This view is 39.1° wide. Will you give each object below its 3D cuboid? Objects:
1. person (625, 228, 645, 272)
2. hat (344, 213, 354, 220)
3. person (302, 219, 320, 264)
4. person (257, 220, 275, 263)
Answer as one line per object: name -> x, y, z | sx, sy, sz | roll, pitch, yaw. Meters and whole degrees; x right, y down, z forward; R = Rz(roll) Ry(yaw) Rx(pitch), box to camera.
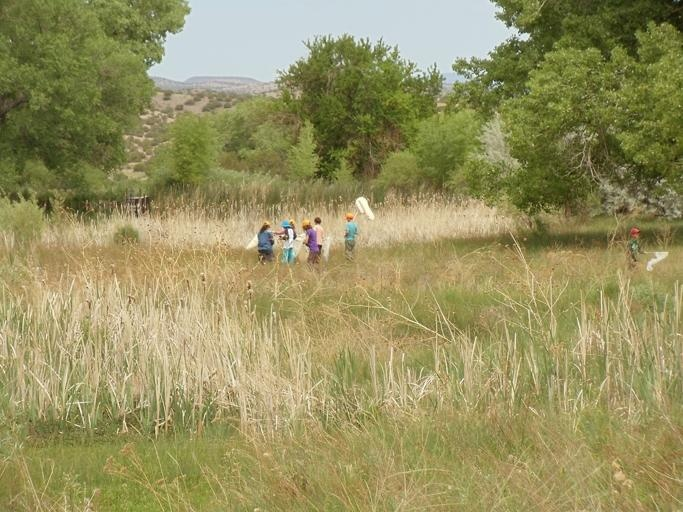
person -> 7.780, -0.123, 25.580 | 0.529, 1.890, 0.743 | 0, 14, 17
hat -> 0.211, -1.233, 29.720 | 0.364, 0.229, 0.570 | 2, -2, 4
person -> -0.873, -0.403, 27.472 | 0.467, 1.012, 0.916 | 1, 0, -2
person -> -2.206, -0.301, 27.992 | 0.470, 1.541, 0.512 | 6, 30, 10
